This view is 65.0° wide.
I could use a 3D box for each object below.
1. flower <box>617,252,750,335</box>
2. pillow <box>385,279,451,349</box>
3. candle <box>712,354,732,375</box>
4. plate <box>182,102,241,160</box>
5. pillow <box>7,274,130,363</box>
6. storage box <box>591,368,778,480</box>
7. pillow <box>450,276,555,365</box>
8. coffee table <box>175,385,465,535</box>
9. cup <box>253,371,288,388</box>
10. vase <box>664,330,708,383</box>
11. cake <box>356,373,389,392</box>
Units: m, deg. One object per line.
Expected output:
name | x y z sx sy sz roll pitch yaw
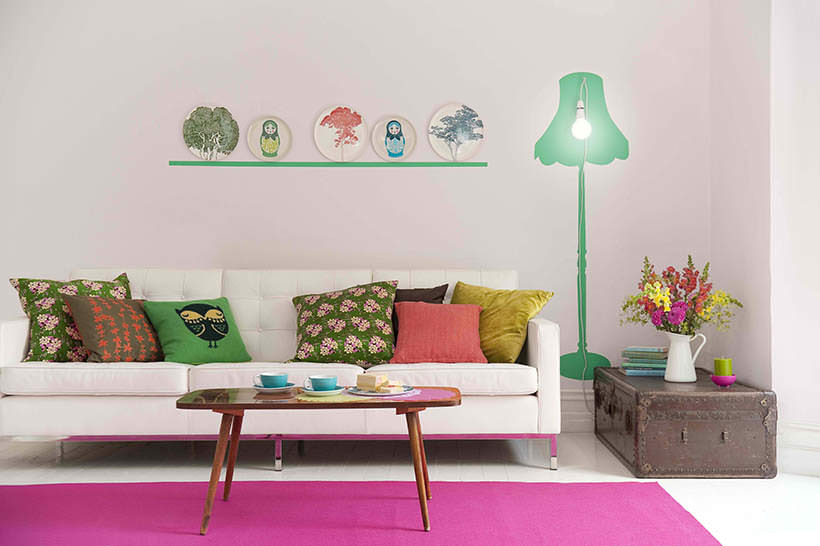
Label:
flower | 1.859 0.244 4.303 0.677 0.433 0.620 0 -9 19
pillow | 0.080 0.279 4.463 0.420 0.355 0.123 2 -26 2
candle | 2.017 0.577 4.095 0.139 0.136 0.131 0 0 -6
plate | -1.482 -1.051 4.707 0.440 0.390 0.093 8 0 0
pillow | -2.249 0.283 4.095 0.635 0.547 0.186 2 -25 -38
storage box | 1.786 0.924 4.142 0.927 0.526 0.730 -2 7 -1
pillow | 0.619 0.294 4.177 0.569 0.497 0.164 4 -25 31
coffee table | -0.466 0.929 3.344 1.403 0.571 0.557 0 -5 -1
cup | -0.727 0.548 3.338 0.155 0.061 0.116 -1 -1 -5
vase | 1.842 0.553 4.261 0.352 0.360 0.221 0 -7 3
cake | -0.187 0.552 3.245 0.110 0.059 0.104 0 -5 14
